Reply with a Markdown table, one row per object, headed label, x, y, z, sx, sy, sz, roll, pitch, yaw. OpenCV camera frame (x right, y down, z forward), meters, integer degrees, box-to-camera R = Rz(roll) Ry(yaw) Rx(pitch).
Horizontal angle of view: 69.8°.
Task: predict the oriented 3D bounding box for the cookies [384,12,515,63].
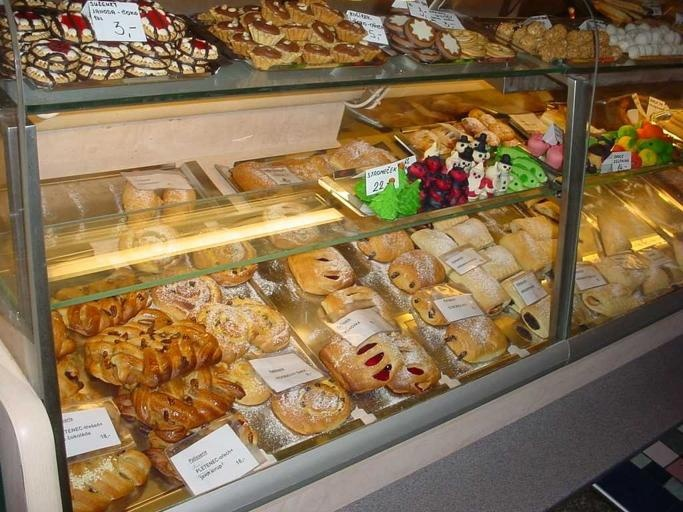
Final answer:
| label | x | y | z | sx | sy | sz | roll | pitch | yaw |
| --- | --- | --- | --- | --- | --- | --- | --- | --- | --- |
| cookies | 0.337 | -0.654 | 1.482 | 0.426 | 0.131 | 0.272 | -7 | 37 | -8 |
